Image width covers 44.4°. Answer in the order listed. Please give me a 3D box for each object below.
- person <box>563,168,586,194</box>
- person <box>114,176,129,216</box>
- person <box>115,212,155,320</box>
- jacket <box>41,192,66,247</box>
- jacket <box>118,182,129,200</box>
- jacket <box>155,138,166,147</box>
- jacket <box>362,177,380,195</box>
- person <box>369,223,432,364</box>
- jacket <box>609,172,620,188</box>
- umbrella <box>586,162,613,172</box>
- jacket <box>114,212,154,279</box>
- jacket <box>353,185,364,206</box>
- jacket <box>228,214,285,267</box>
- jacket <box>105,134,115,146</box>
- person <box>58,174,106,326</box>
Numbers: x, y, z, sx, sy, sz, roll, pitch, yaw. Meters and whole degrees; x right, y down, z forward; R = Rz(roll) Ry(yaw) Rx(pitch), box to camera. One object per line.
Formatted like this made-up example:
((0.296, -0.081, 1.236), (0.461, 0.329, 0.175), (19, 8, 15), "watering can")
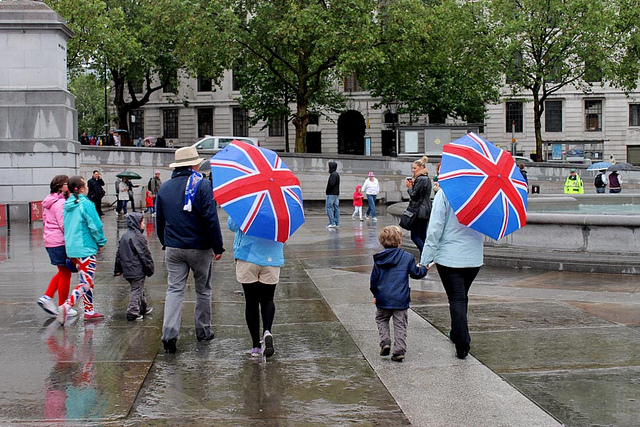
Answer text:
((9.346, -1.158, 28.834), (0.582, 0.857, 1.346), (4, 15, 15), "person")
((-7.886, -0.747, 31.339), (0.558, 1.660, 1.187), (-4, 15, -14), "person")
((-3.078, 0.869, 13.030), (0.605, 1.718, 0.750), (-5, 15, -16), "person")
((-4.482, 0.111, 13.188), (0.388, 0.895, 0.396), (1, -2, -27), "jacket")
((-7.744, -0.910, 30.892), (0.368, 0.730, 0.354), (-4, 15, -14), "jacket")
((-9.446, -4.277, 46.943), (0.615, 0.609, 0.638), (3, -1, -26), "jacket")
((1.890, -0.981, 27.441), (0.825, 0.761, 0.481), (0, -8, -5), "jacket")
((1.084, 1.147, 11.262), (0.702, 1.840, 0.612), (9, 17, 32), "person")
((11.629, -1.346, 31.055), (0.580, 0.708, 0.422), (3, 14, 23), "jacket")
((10.818, -1.805, 30.412), (0.677, 0.380, 1.275), (9, 17, 31), "umbrella")
((-3.141, 0.520, 13.259), (0.734, 1.114, 0.411), (3, 1, 24), "jacket")
((1.366, -0.635, 28.039), (0.270, 0.805, 0.534), (-1, 14, -3), "jacket")
((-0.884, 0.516, 11.303), (0.671, 0.500, 0.297), (-2, 15, -7), "jacket")
((-11.279, -4.051, 42.284), (0.372, 0.641, 1.348), (-5, 15, -17), "jacket")
((-3.997, 0.595, 13.127), (0.789, 2.417, 1.583), (-4, 15, -15), "person")
